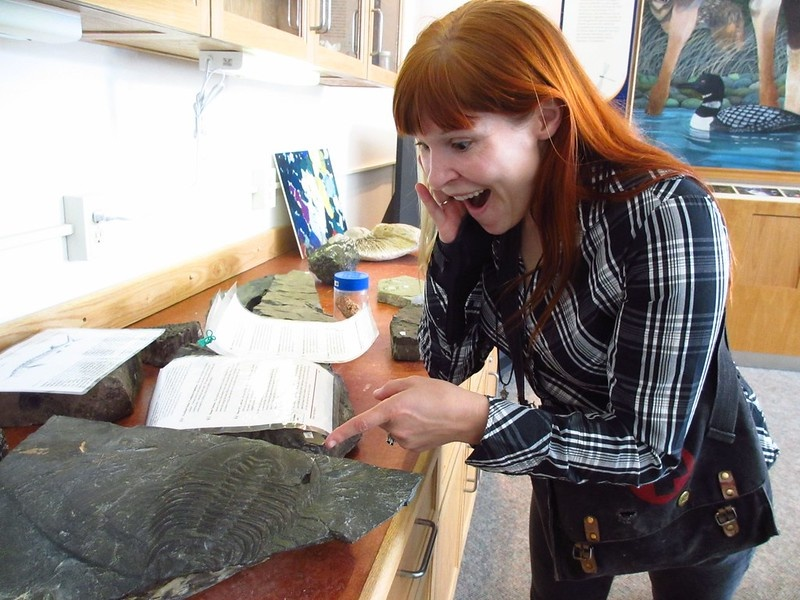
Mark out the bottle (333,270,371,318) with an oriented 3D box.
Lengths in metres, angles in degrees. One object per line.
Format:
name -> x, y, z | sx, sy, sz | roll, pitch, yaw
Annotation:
bottle -> -0.139, 0.011, 1.535 | 0.085, 0.131, 0.084 | 8, 5, -1

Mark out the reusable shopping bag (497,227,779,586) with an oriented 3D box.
reusable shopping bag -> 0.433, 0.230, 1.047 | 0.444, 0.525, 0.294 | -7, 15, -5
